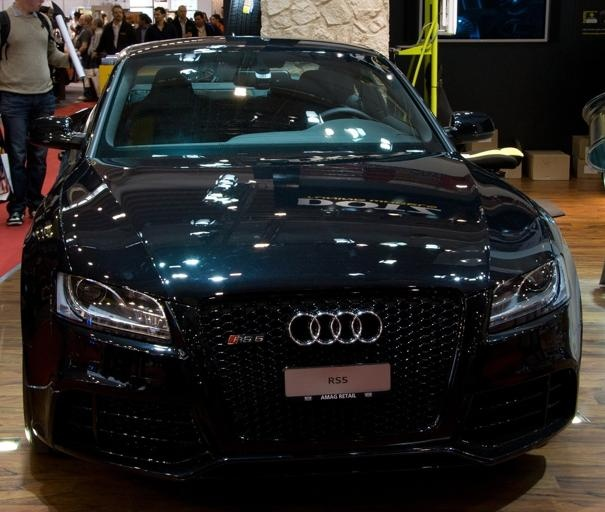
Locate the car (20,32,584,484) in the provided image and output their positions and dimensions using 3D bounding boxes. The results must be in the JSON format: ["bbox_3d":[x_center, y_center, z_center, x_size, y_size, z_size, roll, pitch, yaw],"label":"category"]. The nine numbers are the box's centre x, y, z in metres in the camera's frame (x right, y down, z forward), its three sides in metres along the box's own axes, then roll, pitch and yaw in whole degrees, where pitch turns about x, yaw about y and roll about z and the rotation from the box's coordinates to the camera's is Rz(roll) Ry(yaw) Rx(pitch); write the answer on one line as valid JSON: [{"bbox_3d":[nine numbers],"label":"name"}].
[{"bbox_3d":[-0.068,-0.265,2.070,1.479,0.583,2.161,-1,19,-5],"label":"car"}]
